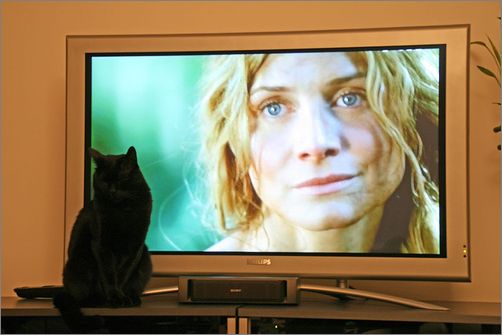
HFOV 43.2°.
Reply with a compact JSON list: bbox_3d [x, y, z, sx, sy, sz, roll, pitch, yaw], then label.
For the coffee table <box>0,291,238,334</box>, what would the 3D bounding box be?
[{"bbox_3d":[-0.712,0.774,3.351,1.288,0.237,0.291,-1,-12,-1],"label":"coffee table"}]
